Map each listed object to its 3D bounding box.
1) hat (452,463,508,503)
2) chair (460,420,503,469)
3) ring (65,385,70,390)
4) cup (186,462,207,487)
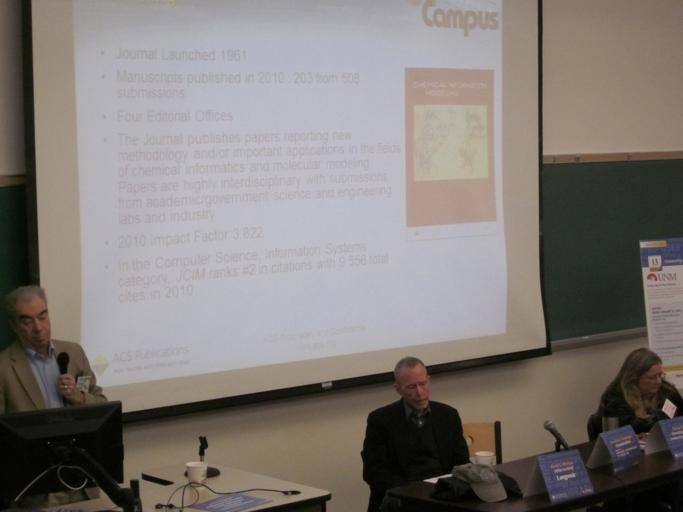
[{"bbox_3d":[0.657,1.074,2.892,0.247,0.131,0.171,-6,5,9],"label":"hat"},{"bbox_3d":[0.910,1.226,3.983,0.197,0.224,0.277,0,-7,-6],"label":"chair"},{"bbox_3d":[-1.340,0.638,2.979,0.032,0.023,0.008,5,-5,-37],"label":"ring"},{"bbox_3d":[-0.761,1.125,3.175,0.083,0.078,0.094,1,3,-1],"label":"cup"}]
